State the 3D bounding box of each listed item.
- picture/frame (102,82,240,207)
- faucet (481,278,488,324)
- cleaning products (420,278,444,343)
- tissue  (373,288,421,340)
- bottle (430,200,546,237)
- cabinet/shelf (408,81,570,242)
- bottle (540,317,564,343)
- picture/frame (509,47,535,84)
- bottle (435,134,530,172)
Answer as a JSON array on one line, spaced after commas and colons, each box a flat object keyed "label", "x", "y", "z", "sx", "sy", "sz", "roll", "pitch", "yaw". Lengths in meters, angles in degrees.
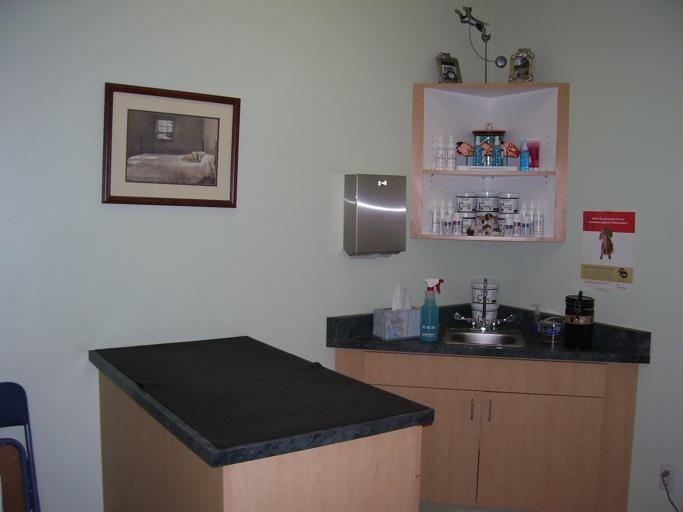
[{"label": "picture/frame", "x": -0.959, "y": -0.619, "z": 3.118, "sx": 0.628, "sy": 0.616, "sz": 0.047, "roll": -2, "pitch": 6, "yaw": -22}, {"label": "faucet", "x": 0.948, "y": 0.313, "z": 3.802, "sx": 0.049, "sy": 0.334, "sz": 0.189, "roll": 3, "pitch": 7, "yaw": 14}, {"label": "cleaning products", "x": 0.576, "y": 0.330, "z": 3.719, "sx": 0.123, "sy": 0.373, "sz": 0.412, "roll": 3, "pitch": 7, "yaw": 10}, {"label": "tissue ", "x": 0.338, "y": 0.377, "z": 3.631, "sx": 0.284, "sy": 0.313, "sz": 0.156, "roll": 2, "pitch": 0, "yaw": -32}, {"label": "bottle", "x": 0.964, "y": -0.274, "z": 3.816, "sx": 0.725, "sy": 0.264, "sz": 0.244, "roll": 1, "pitch": 7, "yaw": -6}, {"label": "cabinet/shelf", "x": 1.211, "y": -0.631, "z": 4.210, "sx": 1.106, "sy": 0.777, "sz": 1.116, "roll": 13, "pitch": -6, "yaw": 46}, {"label": "bottle", "x": 1.310, "y": 0.470, "z": 3.636, "sx": 0.137, "sy": 0.153, "sz": 0.120, "roll": -2, "pitch": 5, "yaw": -14}, {"label": "picture/frame", "x": 1.171, "y": -1.253, "z": 3.742, "sx": 0.150, "sy": 0.228, "sz": 0.030, "roll": 6, "pitch": 45, "yaw": 17}, {"label": "bottle", "x": 0.944, "y": -0.710, "z": 3.837, "sx": 0.691, "sy": 0.269, "sz": 0.244, "roll": 2, "pitch": 7, "yaw": 2}]
